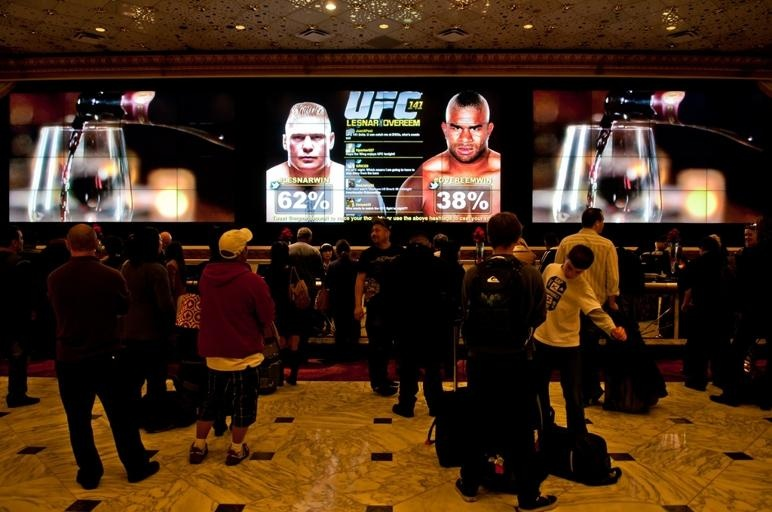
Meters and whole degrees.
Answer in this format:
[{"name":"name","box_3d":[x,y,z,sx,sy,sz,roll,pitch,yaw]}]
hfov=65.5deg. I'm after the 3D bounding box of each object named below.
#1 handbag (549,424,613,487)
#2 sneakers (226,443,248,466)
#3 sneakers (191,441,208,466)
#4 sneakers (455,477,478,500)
[{"name":"handbag","box_3d":[2.026,2.078,6.403,0.556,0.243,0.691,1,1,-42]},{"name":"sneakers","box_3d":[-1.627,2.163,6.563,0.127,0.133,0.324,1,6,9]},{"name":"sneakers","box_3d":[-2.042,2.141,6.557,0.128,0.094,0.272,3,19,-2]},{"name":"sneakers","box_3d":[0.838,2.389,6.151,0.114,0.213,0.330,0,8,-13]}]
